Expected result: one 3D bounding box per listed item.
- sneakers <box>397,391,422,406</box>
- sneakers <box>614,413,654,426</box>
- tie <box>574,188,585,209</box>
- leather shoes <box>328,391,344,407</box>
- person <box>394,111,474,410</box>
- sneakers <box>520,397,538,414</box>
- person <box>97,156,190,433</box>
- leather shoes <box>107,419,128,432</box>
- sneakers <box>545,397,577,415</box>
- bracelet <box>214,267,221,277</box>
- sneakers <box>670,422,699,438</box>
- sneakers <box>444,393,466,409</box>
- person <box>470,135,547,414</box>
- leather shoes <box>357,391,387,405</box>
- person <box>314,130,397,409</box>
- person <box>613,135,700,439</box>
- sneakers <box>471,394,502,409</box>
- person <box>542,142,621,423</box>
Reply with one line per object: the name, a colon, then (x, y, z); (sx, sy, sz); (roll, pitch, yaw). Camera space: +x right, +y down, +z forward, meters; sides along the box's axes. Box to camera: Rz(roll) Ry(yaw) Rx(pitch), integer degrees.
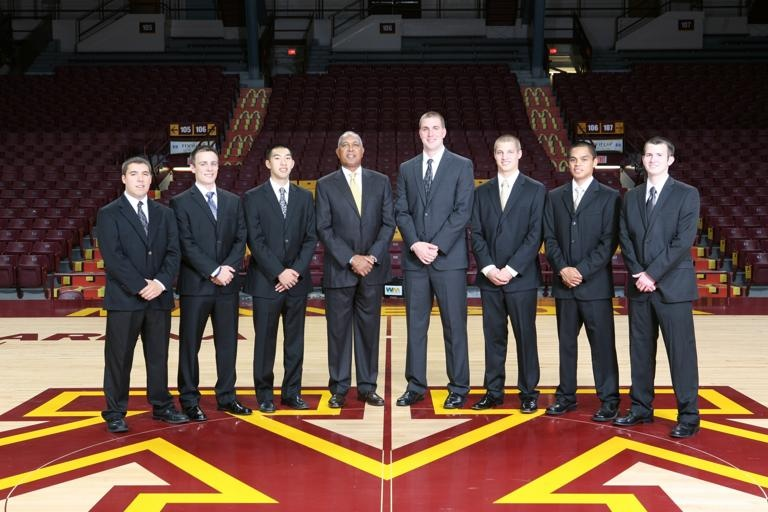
sneakers: (0.207, 1.150, 5.172); (0.260, 0.101, 0.085); (6, -10, -33)
sneakers: (1.855, 1.211, 4.832); (0.307, 0.118, 0.105); (2, -5, -8)
tie: (1.532, -0.457, 5.037); (0.087, 0.144, 0.037); (7, -5, 45)
leather shoes: (-0.380, 1.153, 5.160); (0.124, 0.091, 0.133); (-1, 12, -2)
person: (0.397, 0.025, 5.139); (0.617, 2.293, 0.679); (0, 13, 5)
sneakers: (1.136, 1.167, 5.023); (0.101, 0.091, 0.231); (-1, -7, 12)
person: (-1.854, 0.261, 4.851); (0.663, 1.993, 0.634); (-6, 14, -20)
leather shoes: (-1.955, 1.242, 4.742); (0.190, 0.075, 0.068); (0, 6, 14)
sneakers: (1.375, 1.171, 5.041); (0.256, 0.113, 0.099); (0, 0, -23)
bracelet: (-1.279, 0.120, 4.932); (0.034, 0.064, 0.054); (37, 8, 16)
sneakers: (2.160, 1.249, 4.616); (0.229, 0.089, 0.086); (7, -11, -35)
sneakers: (0.568, 1.141, 5.111); (0.193, 0.099, 0.125); (-1, 12, -3)
person: (0.974, 0.127, 5.095); (0.591, 2.125, 0.643); (1, 13, 10)
leather shoes: (-0.100, 1.154, 5.236); (0.091, 0.094, 0.241); (4, -6, -43)
person: (-0.211, 0.098, 5.210); (0.649, 2.160, 0.652); (-2, 13, -6)
person: (2.072, 0.198, 4.736); (0.616, 2.101, 0.767); (2, 13, 10)
sneakers: (0.829, 1.163, 5.146); (0.281, 0.108, 0.097); (3, -6, -24)
person: (1.540, 0.168, 4.957); (0.629, 2.072, 0.675); (2, 13, 13)
